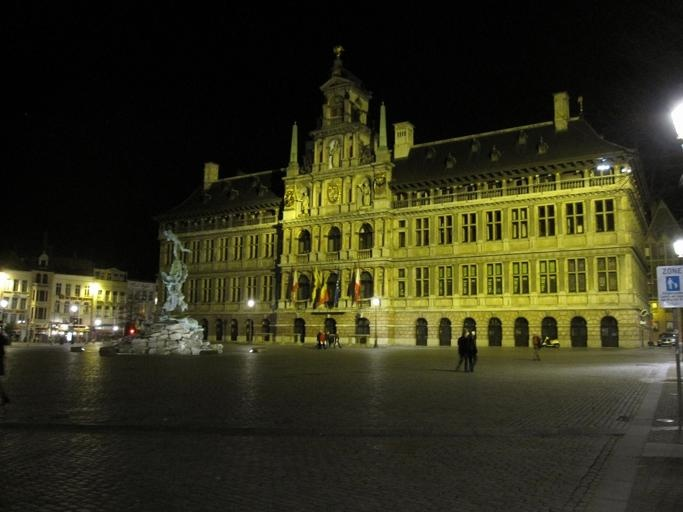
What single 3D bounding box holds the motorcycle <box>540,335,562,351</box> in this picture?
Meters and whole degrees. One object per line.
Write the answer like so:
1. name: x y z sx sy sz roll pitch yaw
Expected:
1. motorcycle: 17.513 7.164 52.568 1.496 0.928 1.369 -4 -11 25
